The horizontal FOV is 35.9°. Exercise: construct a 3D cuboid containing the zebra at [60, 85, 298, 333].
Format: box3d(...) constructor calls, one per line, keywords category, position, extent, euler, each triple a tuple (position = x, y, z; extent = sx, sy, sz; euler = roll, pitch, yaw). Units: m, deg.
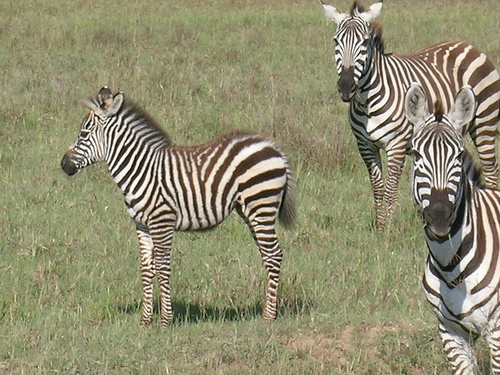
box3d(category="zebra", position=(-1.118, 0.475, 11.602), extent=(2.989, 3.644, 1.055), euler=(-1, -2, 1))
